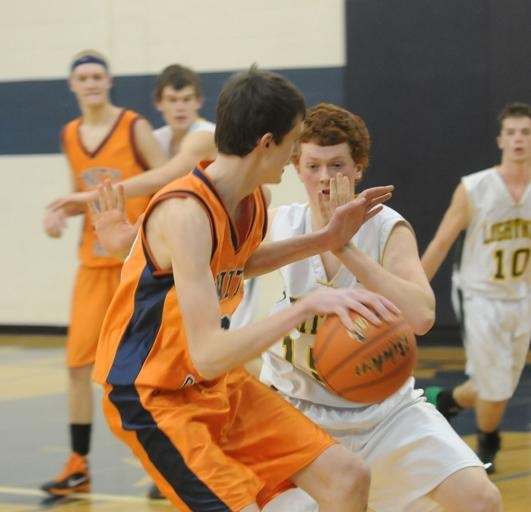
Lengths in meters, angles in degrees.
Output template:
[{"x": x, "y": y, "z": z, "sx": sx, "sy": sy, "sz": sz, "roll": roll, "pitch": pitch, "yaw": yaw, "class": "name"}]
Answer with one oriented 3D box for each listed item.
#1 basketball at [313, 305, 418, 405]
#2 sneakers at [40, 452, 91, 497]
[{"x": 0.287, "y": 0.299, "z": 2.514, "sx": 0.284, "sy": 0.290, "sz": 0.262, "roll": -7, "pitch": 5, "yaw": -2, "class": "basketball"}, {"x": -0.850, "y": 0.935, "z": 3.542, "sx": 0.232, "sy": 0.156, "sz": 0.158, "roll": -6, "pitch": 9, "yaw": -31, "class": "sneakers"}]
